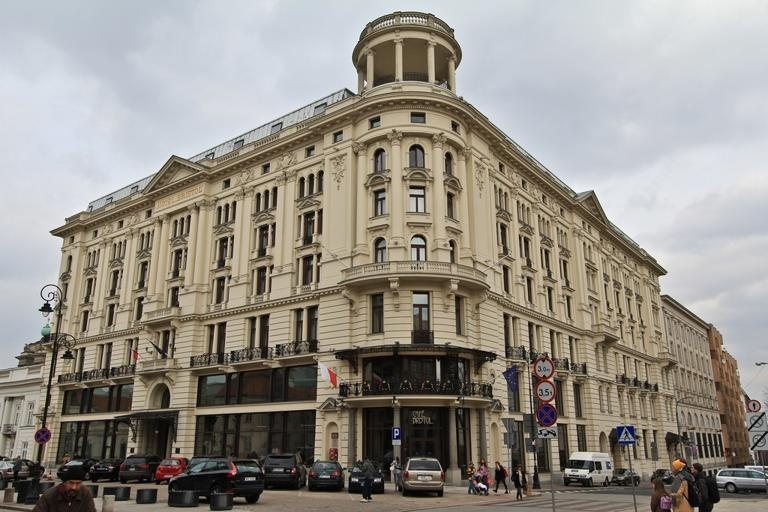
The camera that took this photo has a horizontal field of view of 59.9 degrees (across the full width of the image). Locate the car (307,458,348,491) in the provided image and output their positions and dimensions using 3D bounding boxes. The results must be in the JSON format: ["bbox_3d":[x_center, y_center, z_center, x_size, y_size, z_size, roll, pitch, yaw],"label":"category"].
[{"bbox_3d":[-4.293,16.169,48.529,2.419,1.989,1.576,3,-25,-9],"label":"car"}]

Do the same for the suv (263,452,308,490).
[{"bbox_3d":[-7.527,16.524,50.174,2.885,2.387,5.416,1,-24,-4],"label":"suv"}]

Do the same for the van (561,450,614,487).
[{"bbox_3d":[18.645,19.738,61.297,2.811,2.637,5.816,-8,-18,35],"label":"van"}]

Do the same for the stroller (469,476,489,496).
[{"bbox_3d":[6.792,16.879,48.344,1.284,0.555,1.238,8,-9,-24],"label":"stroller"}]

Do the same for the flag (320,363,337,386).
[{"bbox_3d":[-4.499,9.563,53.398,0.387,2.040,2.201,-14,-14,27],"label":"flag"}]

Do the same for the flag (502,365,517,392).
[{"bbox_3d":[10.307,10.071,54.209,0.940,2.267,1.921,-4,-25,7],"label":"flag"}]

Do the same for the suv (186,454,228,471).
[{"bbox_3d":[-11.839,13.413,43.470,2.229,1.045,1.326,-17,-25,28],"label":"suv"}]

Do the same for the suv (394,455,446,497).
[{"bbox_3d":[2.653,15.727,46.996,2.846,2.778,2.338,0,-25,-2],"label":"suv"}]
